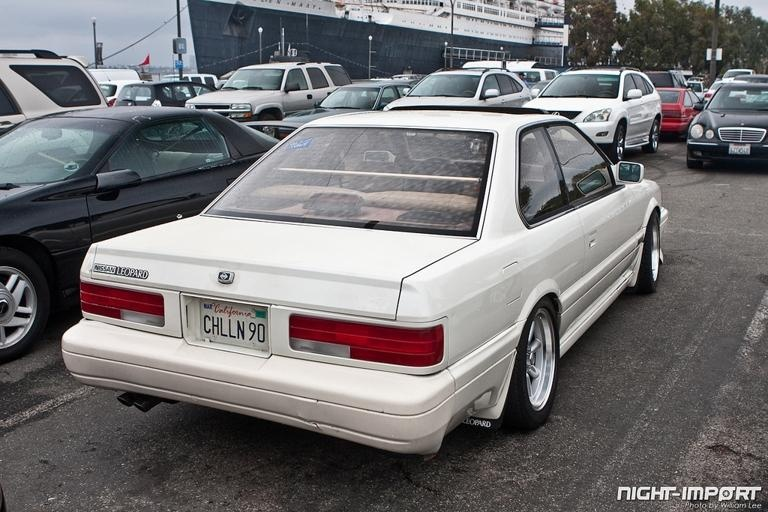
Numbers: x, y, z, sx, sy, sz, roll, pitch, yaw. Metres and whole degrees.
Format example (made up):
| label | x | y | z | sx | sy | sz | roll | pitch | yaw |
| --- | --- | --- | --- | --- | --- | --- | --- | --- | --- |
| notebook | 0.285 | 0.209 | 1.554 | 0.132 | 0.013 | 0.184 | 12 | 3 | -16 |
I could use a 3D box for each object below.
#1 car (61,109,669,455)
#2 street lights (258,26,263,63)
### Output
| label | x | y | z | sx | sy | sz | roll | pitch | yaw |
| --- | --- | --- | --- | --- | --- | --- | --- | --- | --- |
| car | 0.567 | -0.384 | 4.431 | 2.703 | 1.537 | 5.113 | 8 | 20 | 34 |
| street lights | -14.004 | -23.778 | 54.264 | 0.676 | 3.601 | 0.423 | -5 | 22 | -11 |
